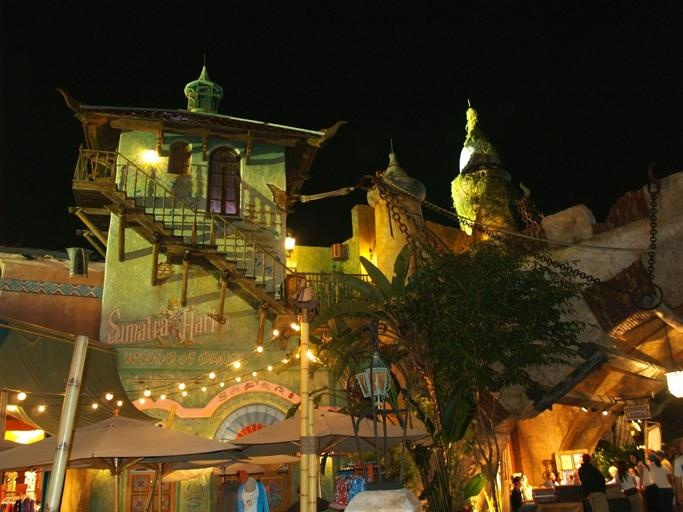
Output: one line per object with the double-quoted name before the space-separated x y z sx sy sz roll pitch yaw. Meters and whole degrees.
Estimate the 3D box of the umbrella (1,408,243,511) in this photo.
"umbrella" -5.250 4.958 16.752 3.831 1.593 3.722 18 -30 -34

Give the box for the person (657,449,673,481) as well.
"person" 8.071 5.331 18.000 0.422 0.833 0.266 10 -29 -13
